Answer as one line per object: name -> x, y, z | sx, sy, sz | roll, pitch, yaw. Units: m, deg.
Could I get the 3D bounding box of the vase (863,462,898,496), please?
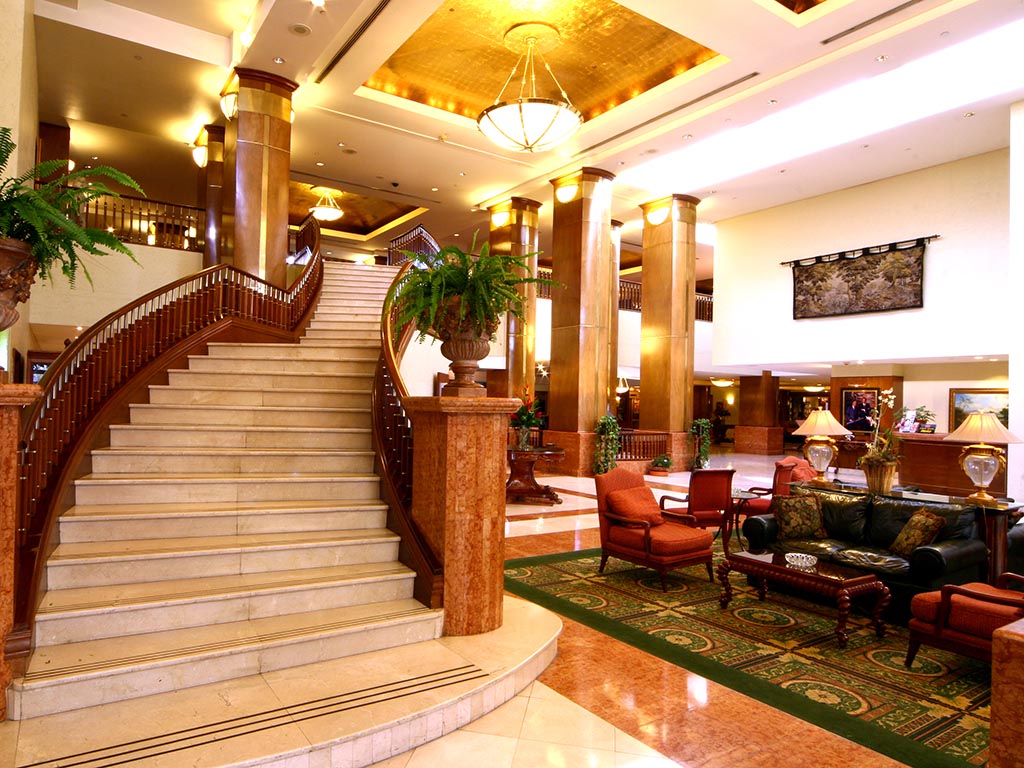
vase -> 4.020, 1.010, 7.174 | 0.399, 0.360, 0.351 | 0, -10, 9

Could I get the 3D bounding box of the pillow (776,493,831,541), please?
pillow -> 3.000, 1.362, 6.958 | 0.474, 0.417, 0.198 | -2, -6, -1

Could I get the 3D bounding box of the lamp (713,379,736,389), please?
lamp -> 8.301, -0.055, 26.475 | 0.739, 0.223, 0.724 | -1, 0, 29

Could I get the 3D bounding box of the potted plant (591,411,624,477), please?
potted plant -> 2.008, 1.266, 13.963 | 0.581, 1.150, 1.071 | 3, 3, 7

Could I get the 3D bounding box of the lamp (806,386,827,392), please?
lamp -> 12.052, 0.174, 26.557 | 0.539, 0.308, 1.505 | 2, 3, 9

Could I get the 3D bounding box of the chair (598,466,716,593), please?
chair -> 1.523, 1.420, 7.047 | 1.035, 1.156, 1.308 | 3, -6, -36

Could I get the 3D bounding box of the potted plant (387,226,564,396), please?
potted plant -> -0.369, -0.504, 5.228 | 0.987, 1.150, 0.650 | 3, 3, 15

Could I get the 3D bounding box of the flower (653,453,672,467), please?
flower -> 3.300, 1.644, 14.628 | 0.255, 0.177, 0.247 | 1, 1, 23

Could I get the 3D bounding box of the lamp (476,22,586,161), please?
lamp -> 0.347, -4.742, 11.464 | 1.964, 1.682, 1.836 | 0, -11, 2

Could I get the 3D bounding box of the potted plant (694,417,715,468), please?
potted plant -> 4.378, 1.348, 15.500 | 0.397, 1.072, 0.722 | 3, 3, 21
